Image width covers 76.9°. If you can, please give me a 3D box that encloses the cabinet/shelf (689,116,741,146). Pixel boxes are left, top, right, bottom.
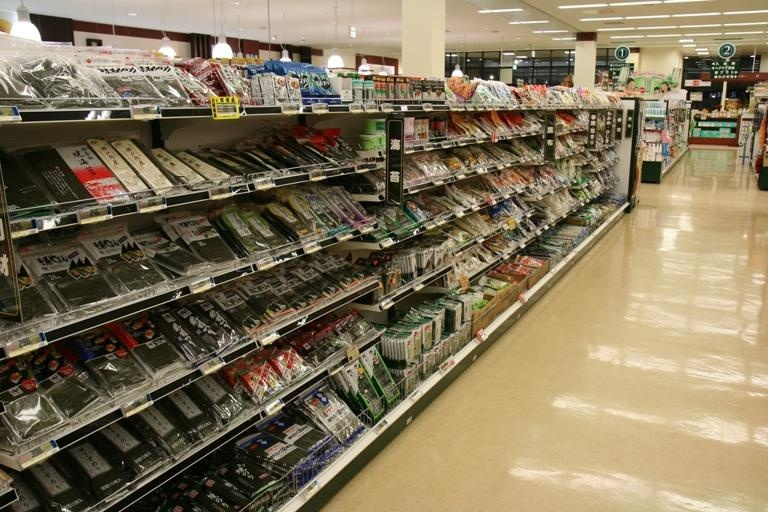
[{"bbox_3d":[16.939,-6.517,24.876,1.363,1.332,2.330,-20,27,-22],"label":"cabinet/shelf"}]
